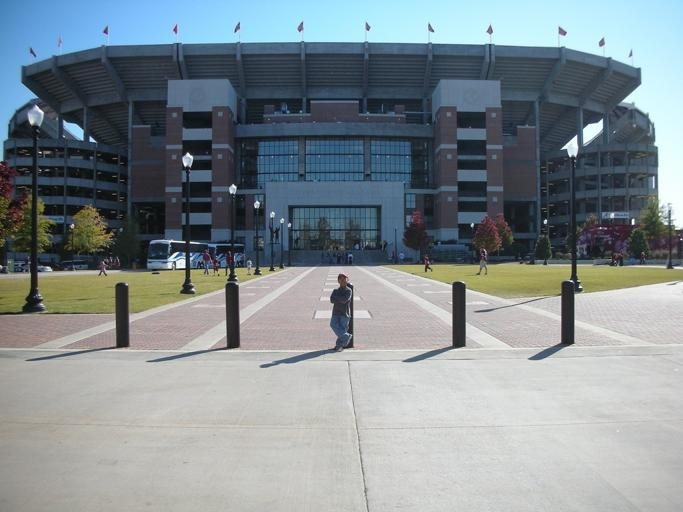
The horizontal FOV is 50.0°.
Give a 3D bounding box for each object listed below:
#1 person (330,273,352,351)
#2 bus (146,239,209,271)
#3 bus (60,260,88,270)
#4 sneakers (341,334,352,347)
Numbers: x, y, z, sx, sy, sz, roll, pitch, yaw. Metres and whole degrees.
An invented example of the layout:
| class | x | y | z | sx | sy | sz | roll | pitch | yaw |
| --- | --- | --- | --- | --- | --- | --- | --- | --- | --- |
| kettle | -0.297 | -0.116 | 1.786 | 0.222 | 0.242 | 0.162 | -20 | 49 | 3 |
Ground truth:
| class | x | y | z | sx | sy | sz | roll | pitch | yaw |
| --- | --- | --- | --- | --- | --- | --- | --- | --- | --- |
| person | -0.007 | 1.230 | 16.013 | 0.447 | 1.550 | 1.012 | 0 | 11 | 1 |
| bus | -14.763 | -0.222 | 64.266 | 2.624 | 3.245 | 9.678 | -2 | -3 | 11 |
| bus | -24.821 | 0.564 | 68.084 | 1.506 | 0.909 | 2.612 | -1 | -5 | 3 |
| sneakers | 0.133 | 1.823 | 15.894 | 0.109 | 0.312 | 0.380 | 5 | 13 | 28 |
